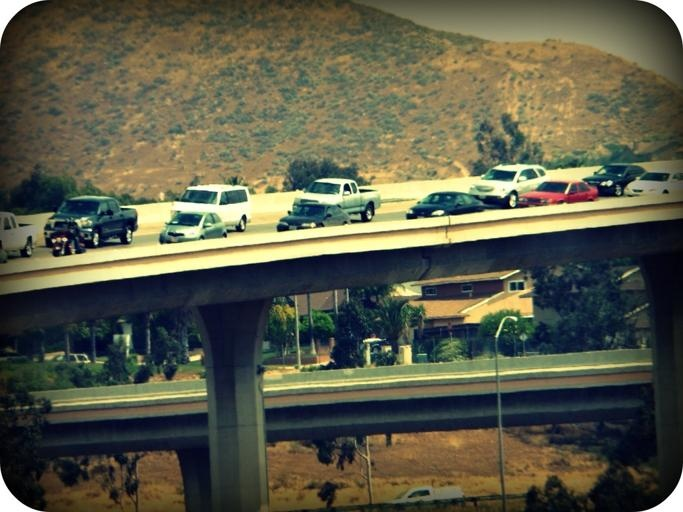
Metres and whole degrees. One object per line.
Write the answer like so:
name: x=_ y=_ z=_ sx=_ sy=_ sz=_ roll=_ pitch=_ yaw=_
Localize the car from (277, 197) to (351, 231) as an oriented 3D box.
car: x=-3.250 y=-4.550 z=159.973 sx=7.642 sy=3.354 sz=2.964 roll=-2 pitch=-3 yaw=-7
